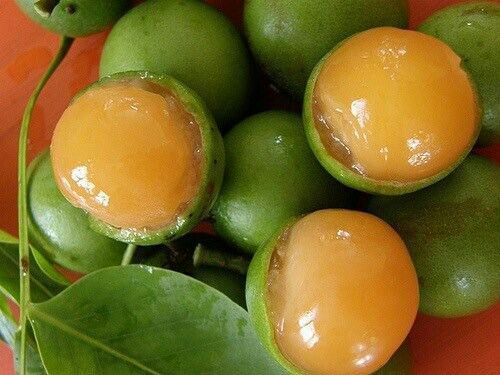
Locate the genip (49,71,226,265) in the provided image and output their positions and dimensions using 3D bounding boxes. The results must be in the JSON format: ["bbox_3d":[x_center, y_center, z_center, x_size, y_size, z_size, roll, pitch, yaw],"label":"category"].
[{"bbox_3d":[-0.133,-0.033,0.747,0.190,0.168,0.221,-27,90,5],"label":"genip"}]

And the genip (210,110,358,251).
[{"bbox_3d":[0.018,-0.043,0.861,0.176,0.226,0.192,-9,38,-29],"label":"genip"}]
